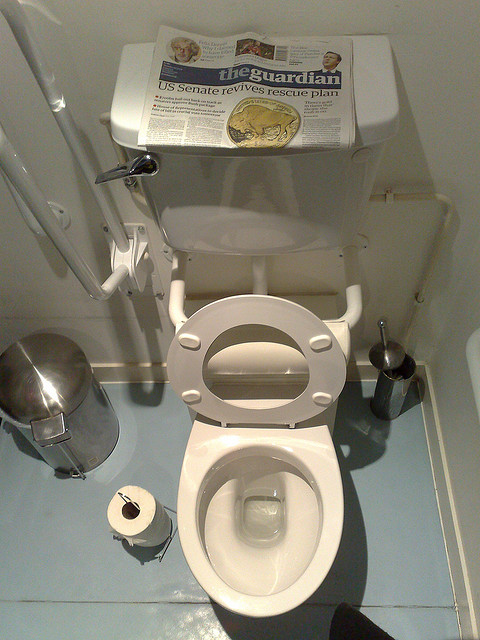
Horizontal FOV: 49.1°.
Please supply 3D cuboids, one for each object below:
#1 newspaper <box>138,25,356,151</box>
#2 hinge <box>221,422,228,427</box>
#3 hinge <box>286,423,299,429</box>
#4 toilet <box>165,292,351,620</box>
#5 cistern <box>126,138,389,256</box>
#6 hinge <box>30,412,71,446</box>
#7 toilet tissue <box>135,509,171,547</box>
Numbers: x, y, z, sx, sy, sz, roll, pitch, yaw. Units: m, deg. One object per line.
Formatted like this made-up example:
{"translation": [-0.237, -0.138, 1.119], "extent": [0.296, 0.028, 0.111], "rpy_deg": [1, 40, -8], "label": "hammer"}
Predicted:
{"translation": [0.020, -0.369, 0.843], "extent": [0.339, 0.038, 0.203], "rpy_deg": [3, 74, 7], "label": "newspaper"}
{"translation": [-0.033, 0.239, 1.210], "extent": [0.016, 0.009, 0.009], "rpy_deg": [-7, 11, 39], "label": "hinge"}
{"translation": [0.120, 0.242, 1.200], "extent": [0.024, 0.016, 0.013], "rpy_deg": [4, 71, 3], "label": "hinge"}
{"translation": [0.044, 0.311, 1.178], "extent": [0.351, 0.666, 0.658], "rpy_deg": [0, 50, 3], "label": "toilet"}
{"translation": [0.026, -0.161, 0.826], "extent": [0.403, 0.277, 0.215], "rpy_deg": [1, 74, 1], "label": "cistern"}
{"translation": [-0.456, 0.276, 1.283], "extent": [0.075, 0.090, 0.062], "rpy_deg": [-16, 54, -10], "label": "hinge"}
{"translation": [-0.211, 0.526, 1.344], "extent": [0.082, 0.090, 0.089], "rpy_deg": [2, 72, 1], "label": "toilet tissue"}
